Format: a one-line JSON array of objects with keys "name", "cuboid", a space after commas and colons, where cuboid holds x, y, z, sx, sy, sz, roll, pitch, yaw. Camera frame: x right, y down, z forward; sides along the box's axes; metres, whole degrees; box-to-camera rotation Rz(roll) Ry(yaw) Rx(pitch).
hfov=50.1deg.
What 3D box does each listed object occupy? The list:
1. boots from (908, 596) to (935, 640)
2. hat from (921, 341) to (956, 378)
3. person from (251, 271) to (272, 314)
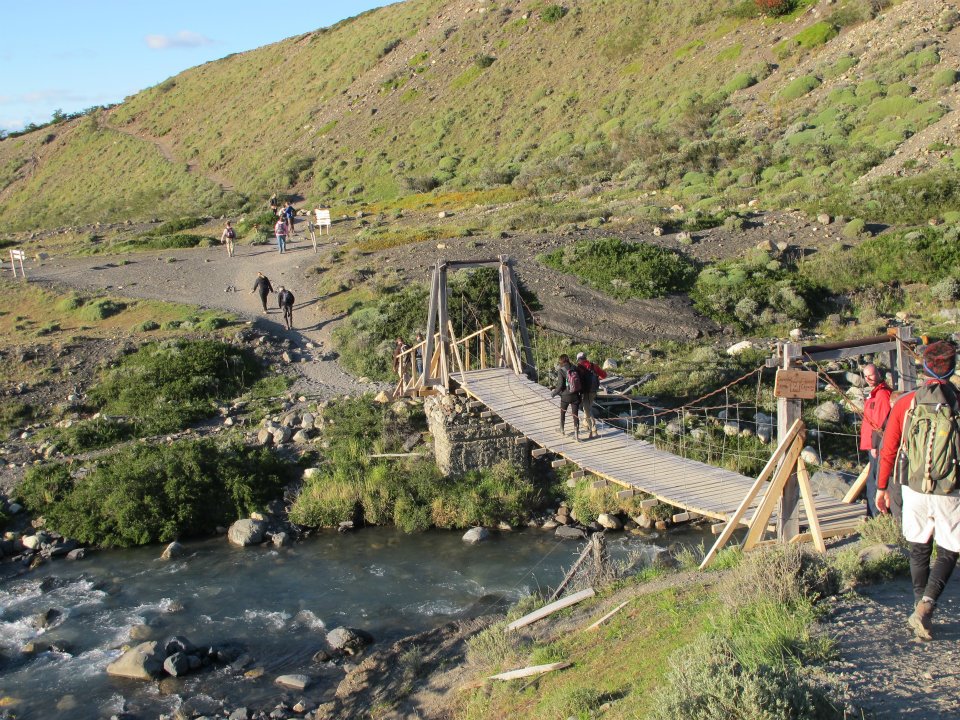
[{"name": "boots", "cuboid": [8.862, 5.138, 20.495, 0.310, 0.978, 0.654, 8, 42, 36]}, {"name": "hat", "cuboid": [9.343, -0.028, 20.991, 0.563, 0.800, 0.753, 0, 4, 11]}, {"name": "person", "cuboid": [-9.723, -3.142, 45.751, 0.688, 1.670, 2.823, -10, 14, -13]}]
